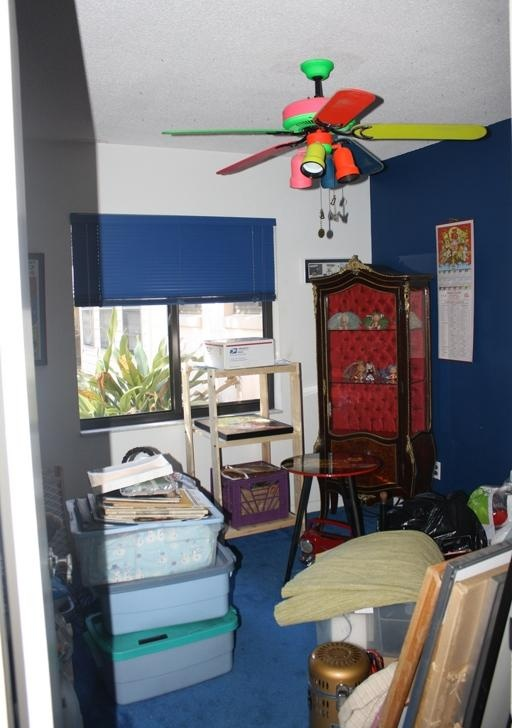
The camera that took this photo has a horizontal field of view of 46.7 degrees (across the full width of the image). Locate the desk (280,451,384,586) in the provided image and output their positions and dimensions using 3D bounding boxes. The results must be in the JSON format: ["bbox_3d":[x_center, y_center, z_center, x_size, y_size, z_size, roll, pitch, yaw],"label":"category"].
[{"bbox_3d":[0.463,0.809,3.409,0.398,0.401,0.398,-3,-31,-30],"label":"desk"}]

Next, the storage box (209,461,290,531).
[{"bbox_3d":[-0.019,0.852,3.982,0.408,0.299,0.395,-4,8,-16],"label":"storage box"}]

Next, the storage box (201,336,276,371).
[{"bbox_3d":[-0.104,-0.069,3.911,0.478,0.159,0.276,8,5,-6],"label":"storage box"}]

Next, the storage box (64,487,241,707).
[{"bbox_3d":[-0.464,0.973,2.780,0.784,0.851,0.646,-2,2,-25],"label":"storage box"}]

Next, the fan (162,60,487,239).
[{"bbox_3d":[0.284,-0.790,2.181,1.190,0.576,1.128,-9,16,-21],"label":"fan"}]
